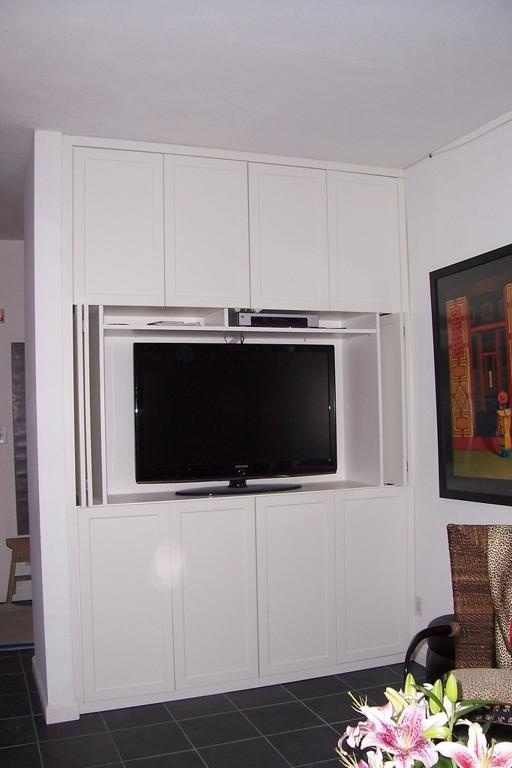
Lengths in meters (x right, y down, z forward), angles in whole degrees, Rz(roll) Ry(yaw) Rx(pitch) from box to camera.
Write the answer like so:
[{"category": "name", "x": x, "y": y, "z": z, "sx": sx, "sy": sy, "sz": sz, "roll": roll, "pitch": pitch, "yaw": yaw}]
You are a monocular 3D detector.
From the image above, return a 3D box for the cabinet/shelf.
[{"category": "cabinet/shelf", "x": -0.076, "y": 0.205, "z": 3.359, "sx": 1.802, "sy": 2.572, "sz": 0.528, "roll": -1, "pitch": -5, "yaw": -17}]

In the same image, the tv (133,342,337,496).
[{"category": "tv", "x": -0.154, "y": 0.182, "z": 3.286, "sx": 0.752, "sy": 0.571, "sz": 0.181, "roll": -1, "pitch": 1, "yaw": -18}]
